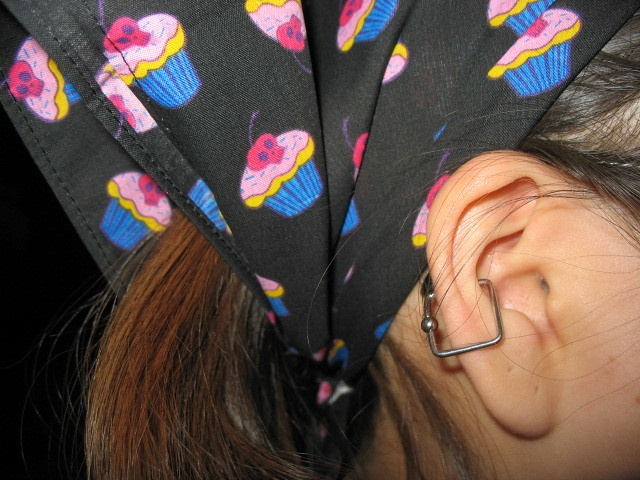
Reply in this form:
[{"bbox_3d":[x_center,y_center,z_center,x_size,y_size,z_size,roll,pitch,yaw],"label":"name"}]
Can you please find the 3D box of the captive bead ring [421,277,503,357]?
[{"bbox_3d":[0.207,0.111,1.002,0.115,0.062,0.108,-5,53,6],"label":"captive bead ring"}]
